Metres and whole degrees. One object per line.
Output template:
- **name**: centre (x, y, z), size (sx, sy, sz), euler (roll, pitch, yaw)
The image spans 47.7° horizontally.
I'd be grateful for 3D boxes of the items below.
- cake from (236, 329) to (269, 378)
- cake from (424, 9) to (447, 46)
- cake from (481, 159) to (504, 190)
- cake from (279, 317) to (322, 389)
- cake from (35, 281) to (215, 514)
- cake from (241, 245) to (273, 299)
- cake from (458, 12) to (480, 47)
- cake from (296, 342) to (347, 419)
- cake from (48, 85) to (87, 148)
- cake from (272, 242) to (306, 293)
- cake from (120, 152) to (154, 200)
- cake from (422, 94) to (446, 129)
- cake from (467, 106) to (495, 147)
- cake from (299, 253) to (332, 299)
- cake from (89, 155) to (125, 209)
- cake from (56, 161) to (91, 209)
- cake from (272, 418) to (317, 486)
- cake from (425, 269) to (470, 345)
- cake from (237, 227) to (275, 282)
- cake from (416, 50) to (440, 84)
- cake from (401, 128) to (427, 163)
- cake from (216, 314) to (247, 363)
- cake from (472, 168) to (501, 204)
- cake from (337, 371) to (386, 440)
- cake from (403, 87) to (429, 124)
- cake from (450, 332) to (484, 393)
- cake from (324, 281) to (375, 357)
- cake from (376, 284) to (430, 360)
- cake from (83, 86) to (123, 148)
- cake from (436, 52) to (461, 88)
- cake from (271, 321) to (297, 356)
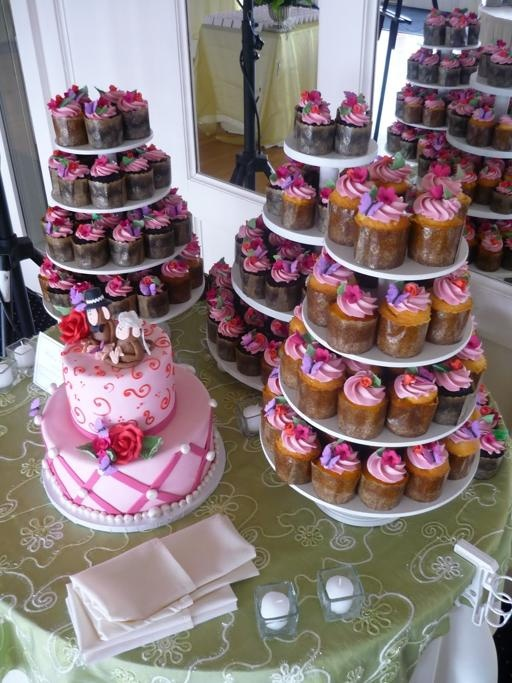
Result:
- **cake**: centre (-0.013, 0.046, 1.977), size (0.113, 0.115, 0.113), euler (30, 47, 30)
- **cake**: centre (0.597, -1.051, 1.951), size (0.106, 0.105, 0.093), euler (1, 49, 6)
- **cake**: centre (0.807, -0.572, 1.994), size (0.081, 0.085, 0.039), euler (17, 4, 38)
- **cake**: centre (0.088, 0.029, 1.411), size (0.138, 0.133, 0.119), euler (-6, 42, -3)
- **cake**: centre (-0.379, 0.170, 1.619), size (0.519, 0.453, 0.453), euler (24, 42, 22)
- **cake**: centre (0.002, -0.218, 1.855), size (0.114, 0.141, 0.113), euler (-15, 45, -23)
- **cake**: centre (0.693, -1.009, 1.875), size (0.018, 0.097, 0.058), euler (-22, 38, -32)
- **cake**: centre (0.150, 0.090, 1.300), size (0.127, 0.176, 0.108), euler (-13, 52, -10)
- **cake**: centre (-0.608, -0.745, 1.907), size (0.120, 0.176, 0.216), euler (-7, 31, -14)
- **cake**: centre (0.140, -0.234, 1.843), size (0.050, 0.125, 0.151), euler (20, -15, -36)
- **cake**: centre (-0.406, -0.561, 1.976), size (0.100, 0.147, 0.115), euler (-11, 33, -20)
- **cake**: centre (0.625, -0.814, 2.059), size (0.109, 0.108, 0.097), euler (4, 41, 6)
- **cake**: centre (0.757, -0.721, 1.957), size (0.090, 0.129, 0.019), euler (25, 39, 34)
- **cake**: centre (0.150, -0.141, 1.313), size (0.065, 0.089, 0.122), euler (4, 29, 5)
- **cake**: centre (-0.476, -0.513, 1.880), size (0.123, 0.157, 0.112), euler (-8, 32, -16)
- **cake**: centre (-0.603, -0.511, 1.894), size (0.129, 0.141, 0.068), euler (4, 31, 4)
- **cake**: centre (0.099, 0.280, 1.461), size (0.117, 0.183, 0.100), euler (7, 32, 9)
- **cake**: centre (0.391, -0.072, 1.200), size (0.089, 0.128, 0.105), euler (29, 45, 31)
- **cake**: centre (-0.006, -0.284, 1.930), size (0.126, 0.069, 0.175), euler (-2, 45, -14)
- **cake**: centre (0.597, -0.951, 2.013), size (0.098, 0.098, 0.086), euler (2, 48, 4)
- **cake**: centre (0.562, -0.735, 2.183), size (0.110, 0.111, 0.101), euler (17, 51, 17)
- **cake**: centre (-0.085, -0.012, 2.046), size (0.150, 0.186, 0.108), euler (-5, 45, -8)
- **cake**: centre (0.798, -0.543, 2.010), size (0.095, 0.122, 0.075), euler (-10, 47, -10)
- **cake**: centre (0.226, 0.143, 1.252), size (0.116, 0.148, 0.099), euler (9, 47, 13)
- **cake**: centre (0.575, -0.852, 2.083), size (0.072, 0.111, 0.073), euler (-20, 51, -12)
- **cake**: centre (0.523, 0.054, 1.405), size (0.128, 0.123, 0.062), euler (18, -25, -39)
- **cake**: centre (0.199, -0.054, 1.224), size (0.099, 0.140, 0.124), euler (-9, 32, -17)
- **cake**: centre (0.296, -0.039, 1.176), size (0.093, 0.151, 0.076), euler (7, 32, 9)
- **cake**: centre (-0.481, -0.704, 1.860), size (0.100, 0.152, 0.158), euler (5, 30, 6)
- **cake**: centre (0.653, -0.923, 1.980), size (0.101, 0.100, 0.088), euler (-3, 50, 2)
- **cake**: centre (0.077, -0.024, 1.951), size (0.099, 0.083, 0.038), euler (3, -1, 6)
